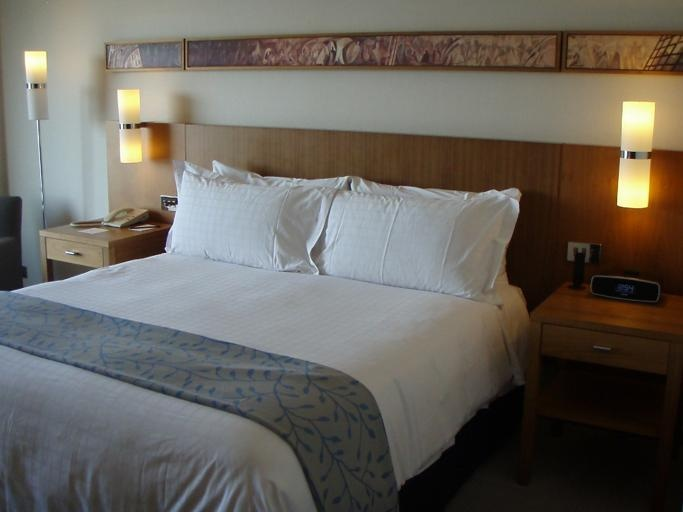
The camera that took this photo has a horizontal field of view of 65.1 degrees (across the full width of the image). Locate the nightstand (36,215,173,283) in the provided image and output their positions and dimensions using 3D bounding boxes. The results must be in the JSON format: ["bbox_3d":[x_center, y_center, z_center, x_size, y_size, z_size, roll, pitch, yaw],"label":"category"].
[{"bbox_3d":[-1.715,-0.163,3.888,0.476,0.696,0.636,12,21,29],"label":"nightstand"}]

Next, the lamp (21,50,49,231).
[{"bbox_3d":[-2.508,-0.966,4.471,0.175,1.512,0.551,-5,12,-28],"label":"lamp"}]

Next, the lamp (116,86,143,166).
[{"bbox_3d":[-1.600,-0.985,4.037,0.156,0.519,0.137,-5,12,-27],"label":"lamp"}]

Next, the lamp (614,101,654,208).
[{"bbox_3d":[1.436,-0.494,2.616,0.149,0.506,0.117,6,12,26],"label":"lamp"}]

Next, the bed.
[{"bbox_3d":[-0.322,0.431,2.177,1.287,0.334,1.322,9,17,28],"label":"bed"}]
